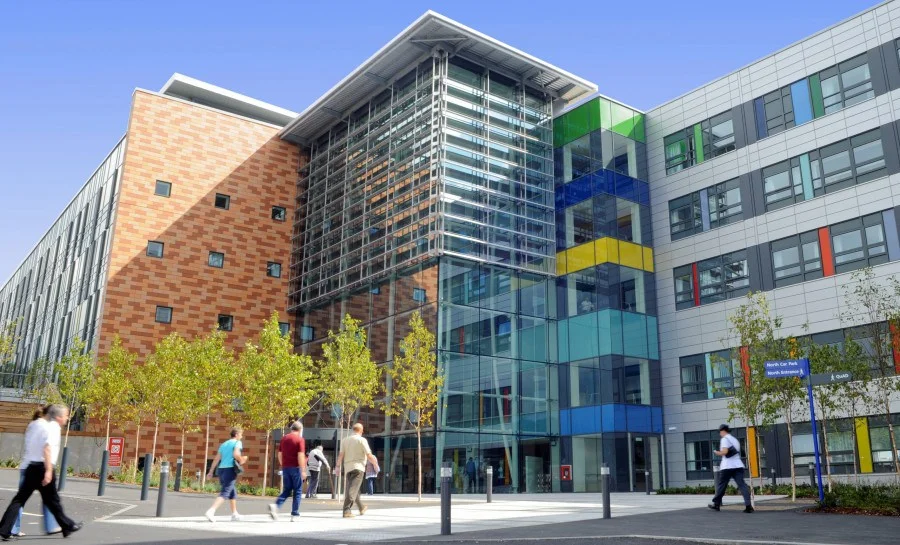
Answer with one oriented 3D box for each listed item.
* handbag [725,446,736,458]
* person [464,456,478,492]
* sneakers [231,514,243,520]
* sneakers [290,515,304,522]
[{"bbox_3d":[9.957,6.404,24.911,0.489,0.355,0.208,6,-22,-18],"label":"handbag"},{"bbox_3d":[1.141,11.161,38.534,0.639,1.843,0.561,-2,-21,1],"label":"person"},{"bbox_3d":[-6.939,8.038,22.841,0.178,0.193,0.487,-6,-11,38],"label":"sneakers"},{"bbox_3d":[-5.025,8.171,23.101,0.194,0.268,0.413,17,-27,-36],"label":"sneakers"}]
